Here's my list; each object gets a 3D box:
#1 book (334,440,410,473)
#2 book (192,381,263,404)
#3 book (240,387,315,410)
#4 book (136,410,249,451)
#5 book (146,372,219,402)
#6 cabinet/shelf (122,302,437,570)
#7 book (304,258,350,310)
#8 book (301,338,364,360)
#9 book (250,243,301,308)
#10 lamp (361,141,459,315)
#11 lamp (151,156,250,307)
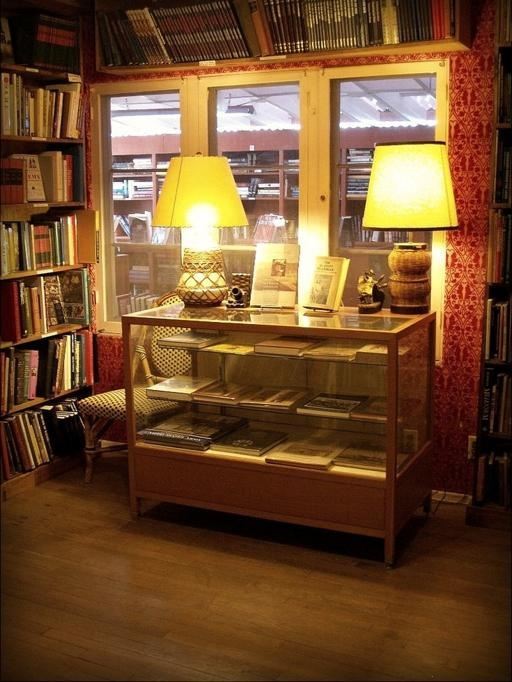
[{"bbox_3d":[0.411,0.443,2.139,0.210,0.110,0.069,0,1,26],"label":"book"},{"bbox_3d":[-0.129,0.229,2.406,0.154,0.034,0.147,3,10,27],"label":"book"},{"bbox_3d":[0.091,0.244,2.315,0.152,0.034,0.152,2,9,28],"label":"book"},{"bbox_3d":[-0.310,0.402,2.471,0.242,0.047,0.241,5,14,27],"label":"book"},{"bbox_3d":[-0.352,0.210,2.475,0.178,0.039,0.173,7,11,39],"label":"book"},{"bbox_3d":[0.088,0.356,2.518,1.290,0.881,0.539,2,6,29],"label":"cabinet/shelf"},{"bbox_3d":[0.321,-0.246,2.408,0.225,0.216,0.055,3,-9,42],"label":"book"},{"bbox_3d":[0.298,0.038,2.102,0.258,0.077,0.053,1,2,42],"label":"book"},{"bbox_3d":[0.083,-0.302,2.513,0.236,0.307,0.096,-1,1,13],"label":"book"},{"bbox_3d":[0.633,-0.446,2.208,0.309,0.667,0.294,-2,1,-35],"label":"lamp"},{"bbox_3d":[-0.272,-0.522,2.552,0.425,0.719,0.325,-1,1,-17],"label":"lamp"}]
